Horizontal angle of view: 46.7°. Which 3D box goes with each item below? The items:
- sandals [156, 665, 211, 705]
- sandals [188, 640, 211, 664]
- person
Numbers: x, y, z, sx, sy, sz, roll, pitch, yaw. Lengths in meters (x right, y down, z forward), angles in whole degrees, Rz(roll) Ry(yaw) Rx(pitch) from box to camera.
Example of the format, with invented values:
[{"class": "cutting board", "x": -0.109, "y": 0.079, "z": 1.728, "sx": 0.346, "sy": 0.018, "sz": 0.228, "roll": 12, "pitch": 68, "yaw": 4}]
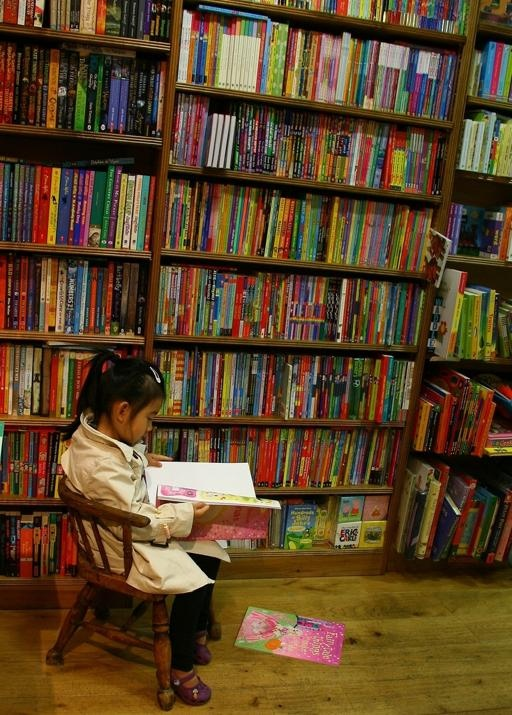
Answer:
[{"class": "sandals", "x": -0.209, "y": 0.962, "z": 1.714, "sx": 0.152, "sy": 0.057, "sz": 0.067, "roll": 9, "pitch": 10, "yaw": 33}, {"class": "sandals", "x": -0.175, "y": 0.947, "z": 1.900, "sx": 0.043, "sy": 0.047, "sz": 0.125, "roll": 2, "pitch": -9, "yaw": -10}, {"class": "person", "x": -0.302, "y": 0.496, "z": 1.674, "sx": 0.496, "sy": 1.003, "sz": 0.373, "roll": 4, "pitch": 9, "yaw": -17}]
